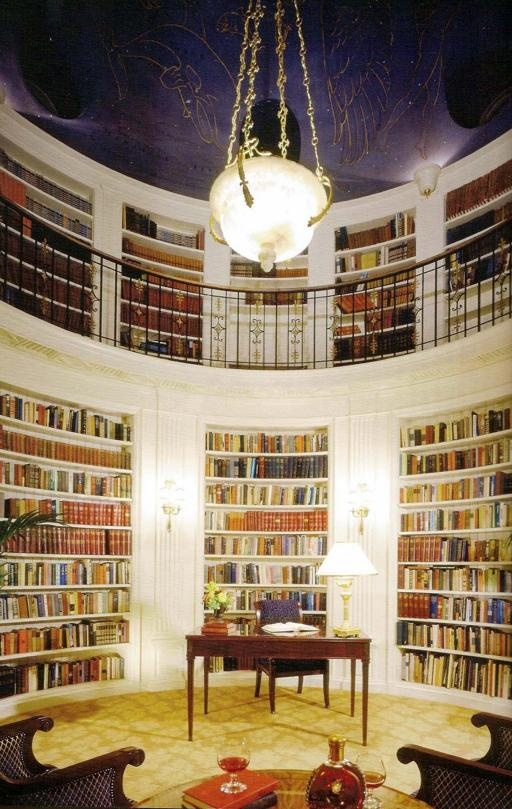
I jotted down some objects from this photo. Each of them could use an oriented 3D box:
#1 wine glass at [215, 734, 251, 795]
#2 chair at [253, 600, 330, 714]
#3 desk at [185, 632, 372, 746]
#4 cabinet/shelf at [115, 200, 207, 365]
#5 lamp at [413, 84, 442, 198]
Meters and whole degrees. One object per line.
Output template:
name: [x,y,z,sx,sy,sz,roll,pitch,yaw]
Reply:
wine glass: [-0.083,1.290,2.646,0.102,0.209,0.316,0,-11,-1]
chair: [0.209,1.931,5.705,0.587,1.046,0.760,5,-29,-9]
desk: [0.160,1.907,5.078,1.202,0.669,0.977,-1,-11,2]
cabinet/shelf: [-0.883,-1.194,7.227,0.986,1.583,0.673,7,-13,-36]
lamp: [1.629,-2.354,6.926,0.250,0.936,0.561,-4,-11,16]
